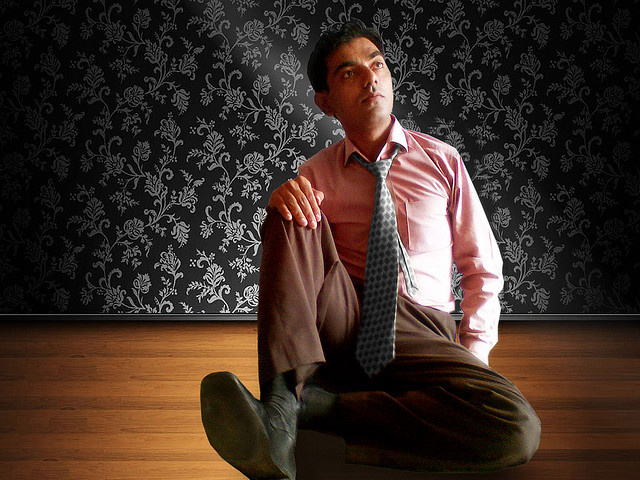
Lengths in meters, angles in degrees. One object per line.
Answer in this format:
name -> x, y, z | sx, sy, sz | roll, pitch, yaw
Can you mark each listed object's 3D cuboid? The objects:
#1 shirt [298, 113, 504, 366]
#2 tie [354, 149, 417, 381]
shirt -> 0.276, 0.011, 1.993 | 0.712, 0.982, 0.317 | -4, 13, 25
tie -> 0.184, 0.083, 1.687 | 0.182, 0.646, 0.191 | 1, 18, -17
